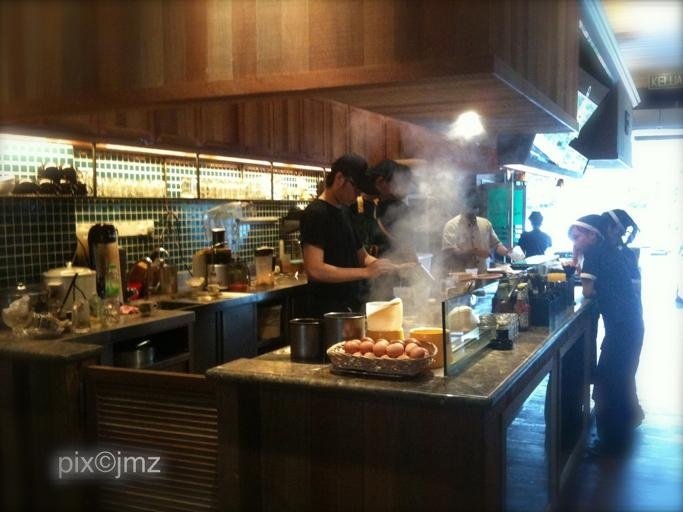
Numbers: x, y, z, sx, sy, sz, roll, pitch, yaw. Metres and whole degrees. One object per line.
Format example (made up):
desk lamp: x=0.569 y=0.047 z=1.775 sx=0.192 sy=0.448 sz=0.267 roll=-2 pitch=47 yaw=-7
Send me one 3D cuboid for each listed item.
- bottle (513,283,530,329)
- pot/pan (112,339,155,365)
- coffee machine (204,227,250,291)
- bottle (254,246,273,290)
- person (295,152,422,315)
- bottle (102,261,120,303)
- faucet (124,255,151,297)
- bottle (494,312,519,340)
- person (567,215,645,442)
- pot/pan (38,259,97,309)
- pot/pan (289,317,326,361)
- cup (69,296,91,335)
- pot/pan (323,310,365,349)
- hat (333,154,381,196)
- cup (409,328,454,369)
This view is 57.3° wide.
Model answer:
bottle: x=1.000 y=0.273 z=3.449 sx=0.072 sy=0.239 sz=0.331 roll=0 pitch=3 yaw=19
pot/pan: x=-1.269 y=0.612 z=3.840 sx=0.117 sy=0.150 sz=0.232 roll=1 pitch=3 yaw=33
coffee machine: x=-0.936 y=0.073 z=5.039 sx=0.310 sy=0.509 sz=0.495 roll=-2 pitch=-5 yaw=20
bottle: x=-0.663 y=0.092 z=5.389 sx=0.221 sy=0.323 sz=0.184 roll=-3 pitch=1 yaw=2
person: x=0.065 y=-0.112 z=3.652 sx=0.531 sy=0.924 sz=0.619 roll=0 pitch=3 yaw=11
bottle: x=-1.455 y=0.173 z=3.962 sx=0.111 sy=0.252 sz=0.330 roll=-2 pitch=3 yaw=-21
faucet: x=-1.464 y=0.167 z=4.506 sx=0.174 sy=0.280 sz=0.501 roll=-2 pitch=3 yaw=-18
bottle: x=0.831 y=0.328 z=3.075 sx=0.125 sy=0.165 sz=0.167 roll=1 pitch=2 yaw=30
person: x=2.030 y=0.504 z=4.784 sx=0.522 sy=1.693 sz=0.810 roll=0 pitch=3 yaw=20
pot/pan: x=-1.651 y=0.192 z=3.803 sx=0.299 sy=0.279 sz=0.270 roll=-2 pitch=3 yaw=-28
pot/pan: x=-0.140 y=0.375 z=2.810 sx=0.196 sy=0.176 sz=0.125 roll=12 pitch=16 yaw=44
cup: x=-1.502 y=0.358 z=3.593 sx=0.133 sy=0.206 sz=0.132 roll=-7 pitch=-16 yaw=-2
pot/pan: x=-0.012 y=0.356 z=2.839 sx=0.160 sy=0.181 sz=0.162 roll=3 pitch=-3 yaw=-13
hat: x=0.079 y=-0.463 z=3.543 sx=0.263 sy=0.157 sz=0.187 roll=21 pitch=16 yaw=-3
cup: x=0.381 y=0.388 z=2.689 sx=0.155 sy=0.130 sz=0.159 roll=-1 pitch=4 yaw=0
